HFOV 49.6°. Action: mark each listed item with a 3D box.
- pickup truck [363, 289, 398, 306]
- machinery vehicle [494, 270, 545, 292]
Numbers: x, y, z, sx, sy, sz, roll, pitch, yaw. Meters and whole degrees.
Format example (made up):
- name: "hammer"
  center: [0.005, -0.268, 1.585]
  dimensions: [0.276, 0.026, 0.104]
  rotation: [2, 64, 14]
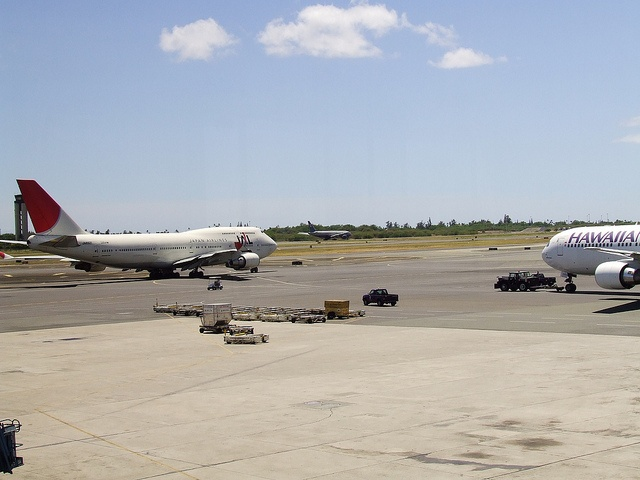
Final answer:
- name: "pickup truck"
  center: [4.426, 4.225, 51.311]
  dimensions: [2.311, 0.822, 1.377]
  rotation: [3, 2, 35]
- name: "machinery vehicle"
  center: [17.055, 3.621, 59.686]
  dimensions: [3.490, 0.985, 2.124]
  rotation: [0, -1, 20]
